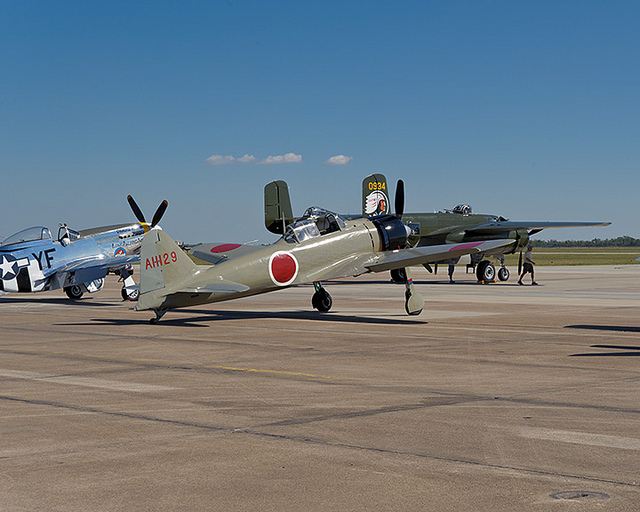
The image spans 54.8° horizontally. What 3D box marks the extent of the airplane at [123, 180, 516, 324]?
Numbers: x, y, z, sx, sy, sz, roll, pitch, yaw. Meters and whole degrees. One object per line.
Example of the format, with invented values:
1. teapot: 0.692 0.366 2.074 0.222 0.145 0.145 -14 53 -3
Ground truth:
1. airplane: -0.725 0.142 19.341 8.644 2.428 9.427 0 0 -36
